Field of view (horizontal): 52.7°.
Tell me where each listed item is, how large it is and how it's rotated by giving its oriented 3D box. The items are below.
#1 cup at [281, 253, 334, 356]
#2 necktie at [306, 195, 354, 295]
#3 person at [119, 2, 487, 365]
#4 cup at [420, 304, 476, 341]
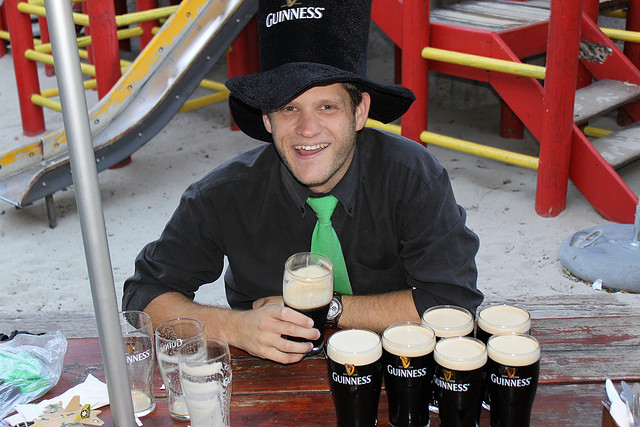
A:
[{"bbox_3d":[-0.039,0.308,2.107,0.179,0.292,0.225,-5,32,2],"label":"cup"},{"bbox_3d":[0.039,0.151,2.501,0.153,0.388,0.245,-7,32,-2],"label":"necktie"},{"bbox_3d":[-0.118,-0.119,2.358,1.291,1.144,1.038,-15,33,-16],"label":"person"},{"bbox_3d":[0.379,0.319,1.913,0.109,0.082,0.111,-2,18,0],"label":"cup"}]
